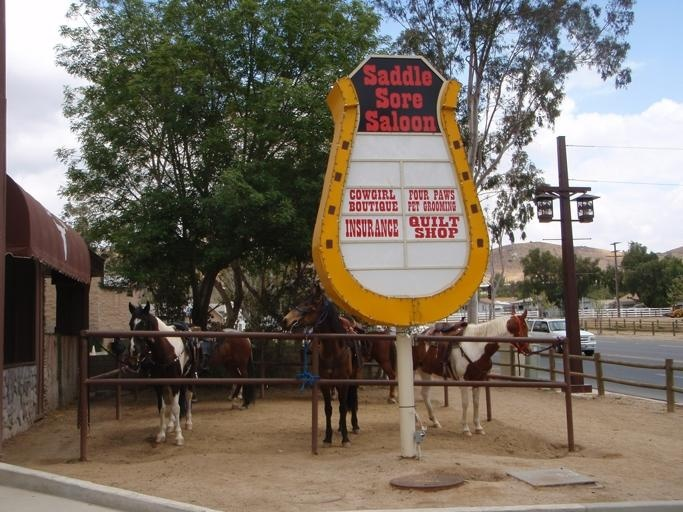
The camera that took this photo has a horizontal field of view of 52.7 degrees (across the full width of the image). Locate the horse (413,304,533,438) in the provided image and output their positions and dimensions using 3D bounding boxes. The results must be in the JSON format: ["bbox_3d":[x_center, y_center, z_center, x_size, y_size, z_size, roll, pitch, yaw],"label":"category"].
[{"bbox_3d":[2.768,2.549,15.108,1.954,2.495,3.096,0,-5,-3],"label":"horse"}]

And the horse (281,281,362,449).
[{"bbox_3d":[-0.298,2.173,13.852,1.274,3.113,2.420,-1,-5,2],"label":"horse"}]
